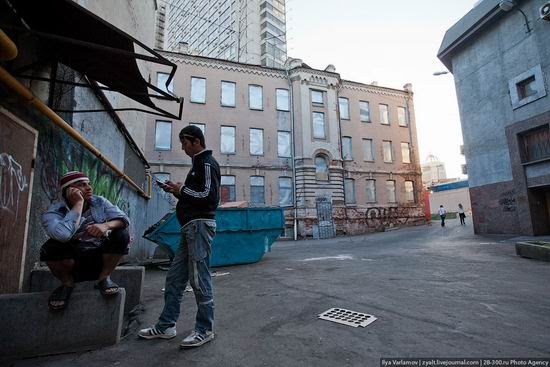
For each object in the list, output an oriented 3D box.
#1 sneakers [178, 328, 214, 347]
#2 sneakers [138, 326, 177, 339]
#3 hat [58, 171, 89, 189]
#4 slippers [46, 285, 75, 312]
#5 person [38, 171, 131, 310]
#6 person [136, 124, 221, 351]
[{"bbox_3d":[-1.120,2.161,4.363,0.419,0.189,0.171,10,-17,-35],"label":"sneakers"},{"bbox_3d":[-1.734,2.169,4.575,0.533,0.223,0.204,9,-19,-2],"label":"sneakers"},{"bbox_3d":[-2.970,-0.033,4.518,0.305,0.183,0.306,-13,-1,14],"label":"hat"},{"bbox_3d":[-2.913,1.539,4.153,0.182,0.118,0.370,11,12,-11],"label":"slippers"},{"bbox_3d":[-2.710,0.754,4.415,1.055,1.884,0.552,1,-5,-29],"label":"person"},{"bbox_3d":[-1.343,0.656,4.620,0.888,3.232,0.592,-3,-5,20],"label":"person"}]
